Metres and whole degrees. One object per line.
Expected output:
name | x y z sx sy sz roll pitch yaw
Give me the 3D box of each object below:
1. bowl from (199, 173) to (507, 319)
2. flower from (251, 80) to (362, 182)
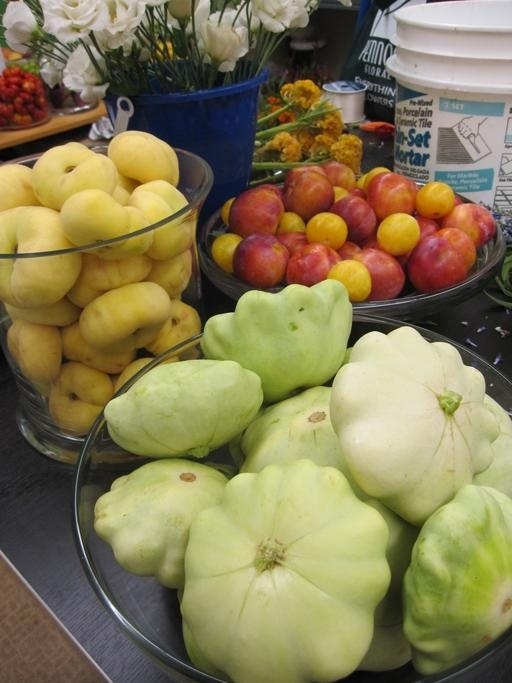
bowl | 0.098 -0.126 0.712 0.280 0.122 0.199 -2 20 10
flower | 0.090 -0.302 0.939 0.169 0.164 0.128 18 36 32
